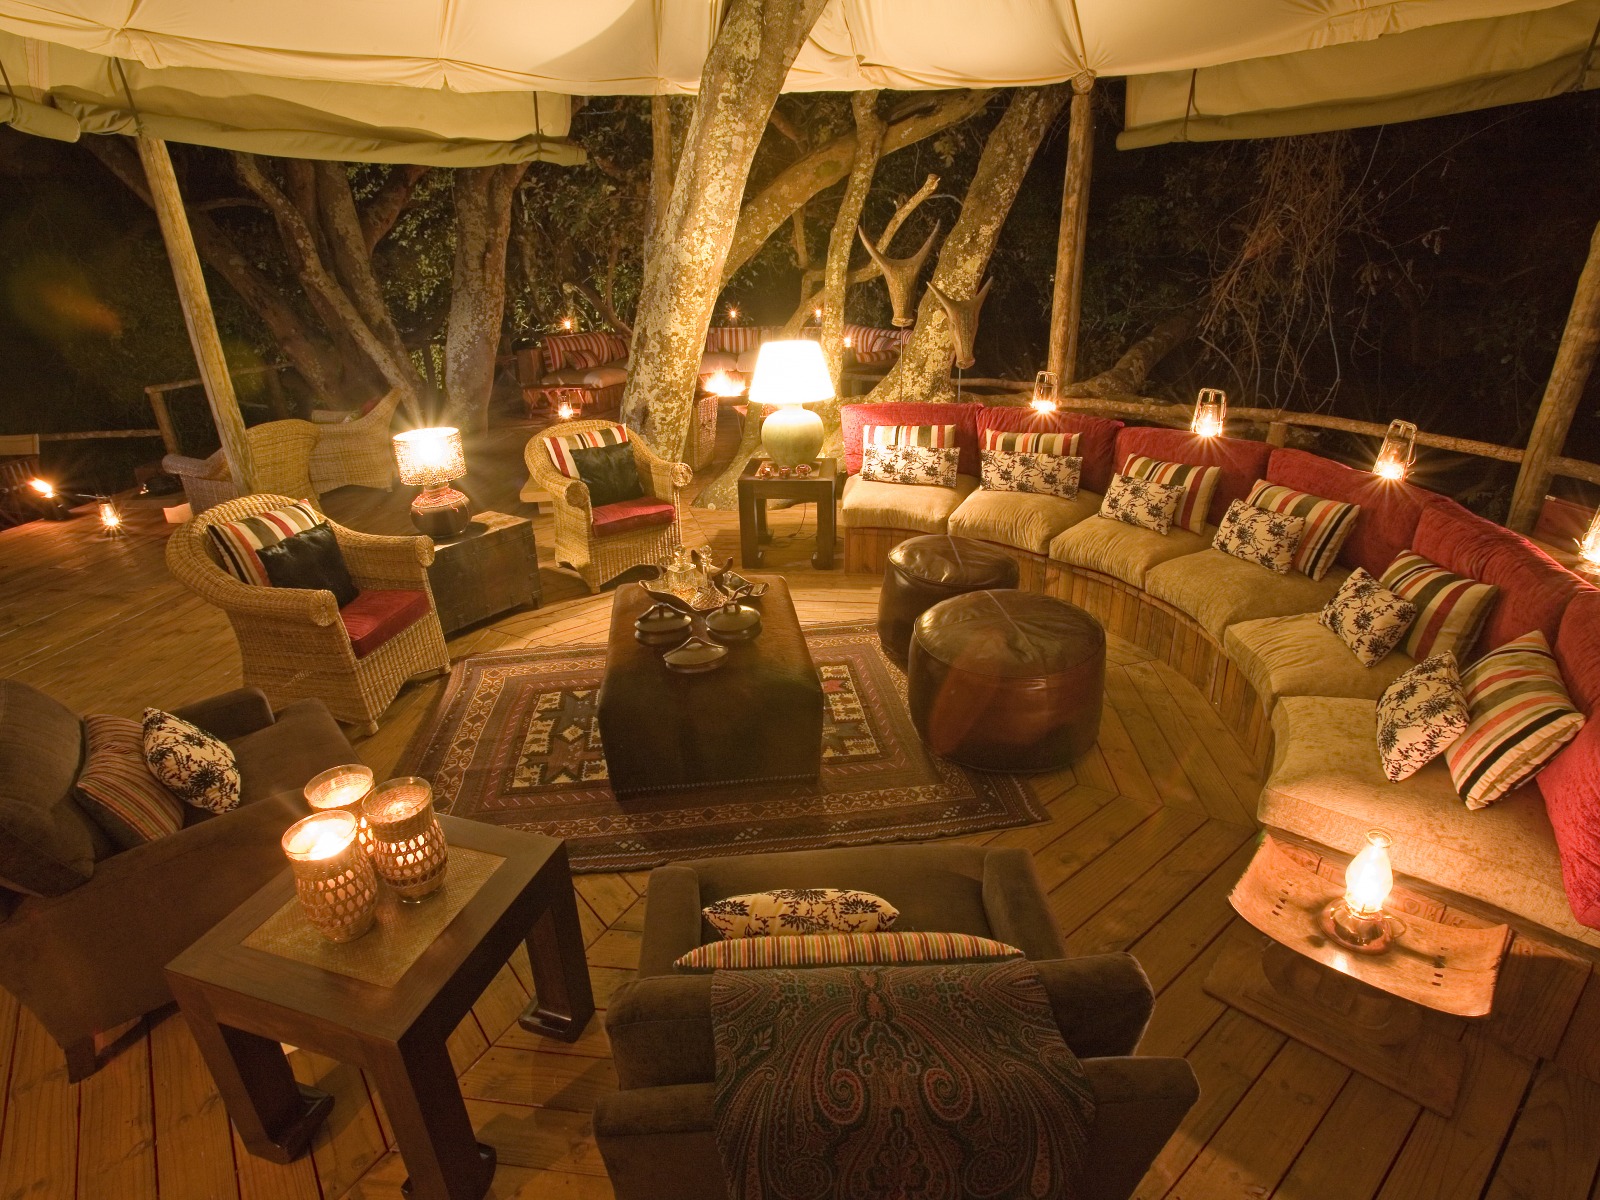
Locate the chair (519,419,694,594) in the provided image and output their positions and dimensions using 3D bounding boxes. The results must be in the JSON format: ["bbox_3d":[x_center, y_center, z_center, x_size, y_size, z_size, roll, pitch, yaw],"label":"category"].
[{"bbox_3d":[-1.379,-0.677,7.297,0.973,1.014,1.074,14,25,32],"label":"chair"}]

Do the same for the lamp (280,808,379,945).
[{"bbox_3d":[-1.674,0.997,3.671,0.299,0.429,0.292,-11,-2,-9],"label":"lamp"}]

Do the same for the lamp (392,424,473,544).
[{"bbox_3d":[-2.323,-0.743,6.594,0.410,0.654,0.396,-16,12,-42],"label":"lamp"}]

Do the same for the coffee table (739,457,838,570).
[{"bbox_3d":[-0.010,-0.612,7.537,0.769,0.764,0.769,0,31,4],"label":"coffee table"}]

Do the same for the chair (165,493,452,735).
[{"bbox_3d":[-2.730,0.042,5.799,1.246,1.096,1.166,-4,18,4],"label":"chair"}]

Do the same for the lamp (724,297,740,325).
[{"bbox_3d":[-0.938,-3.939,14.197,0.175,0.342,0.568,-2,22,-6],"label":"lamp"}]

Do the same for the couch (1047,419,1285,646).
[{"bbox_3d":[2.240,-0.594,6.454,1.232,0.817,1.266,24,48,38],"label":"couch"}]

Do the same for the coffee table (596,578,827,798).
[{"bbox_3d":[-0.521,0.338,5.672,1.109,0.626,1.460,-4,31,-6],"label":"coffee table"}]

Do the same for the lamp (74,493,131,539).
[{"bbox_3d":[-6.041,-0.717,8.943,0.419,0.100,0.268,21,23,21],"label":"lamp"}]

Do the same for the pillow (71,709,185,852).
[{"bbox_3d":[-2.648,0.742,4.073,0.409,0.179,0.641,32,19,-53],"label":"pillow"}]

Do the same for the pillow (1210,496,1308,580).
[{"bbox_3d":[2.600,-0.360,5.851,0.168,0.350,0.553,17,9,-29],"label":"pillow"}]

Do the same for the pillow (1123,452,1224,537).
[{"bbox_3d":[2.260,-0.653,6.536,0.687,0.254,0.480,12,69,25],"label":"pillow"}]

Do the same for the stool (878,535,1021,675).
[{"bbox_3d":[0.821,-0.050,5.917,0.724,0.630,0.716,-3,19,-9],"label":"stool"}]

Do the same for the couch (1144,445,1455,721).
[{"bbox_3d":[2.683,-0.049,5.437,1.173,0.978,1.956,-19,27,7],"label":"couch"}]

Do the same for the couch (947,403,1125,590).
[{"bbox_3d":[1.588,-0.695,7.123,0.830,1.039,1.147,14,29,29],"label":"couch"}]

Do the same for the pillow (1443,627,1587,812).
[{"bbox_3d":[2.913,0.514,4.194,0.203,0.419,0.684,35,47,2],"label":"pillow"}]

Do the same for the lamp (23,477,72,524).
[{"bbox_3d":[-6.572,-0.917,9.028,0.283,0.345,0.386,-15,27,-33],"label":"lamp"}]

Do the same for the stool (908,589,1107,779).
[{"bbox_3d":[1.099,0.404,5.493,1.025,0.708,1.004,-26,37,-38],"label":"stool"}]

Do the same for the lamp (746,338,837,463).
[{"bbox_3d":[-0.085,-1.391,7.366,0.689,0.816,0.668,-7,13,-17],"label":"lamp"}]

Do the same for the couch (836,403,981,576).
[{"bbox_3d":[0.699,-0.837,7.468,1.206,1.247,1.177,3,37,7],"label":"couch"}]

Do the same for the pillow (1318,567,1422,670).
[{"bbox_3d":[2.779,0.094,5.034,0.136,0.370,0.420,28,15,-32],"label":"pillow"}]

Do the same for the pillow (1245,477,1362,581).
[{"bbox_3d":[3.001,-0.355,5.952,0.288,0.528,0.760,11,5,9],"label":"pillow"}]

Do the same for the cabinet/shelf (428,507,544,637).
[{"bbox_3d":[-2.112,-0.143,6.643,0.396,0.595,0.756,11,25,38],"label":"cabinet/shelf"}]

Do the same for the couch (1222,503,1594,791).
[{"bbox_3d":[2.825,0.142,4.991,1.193,0.770,1.174,-13,27,1],"label":"couch"}]
